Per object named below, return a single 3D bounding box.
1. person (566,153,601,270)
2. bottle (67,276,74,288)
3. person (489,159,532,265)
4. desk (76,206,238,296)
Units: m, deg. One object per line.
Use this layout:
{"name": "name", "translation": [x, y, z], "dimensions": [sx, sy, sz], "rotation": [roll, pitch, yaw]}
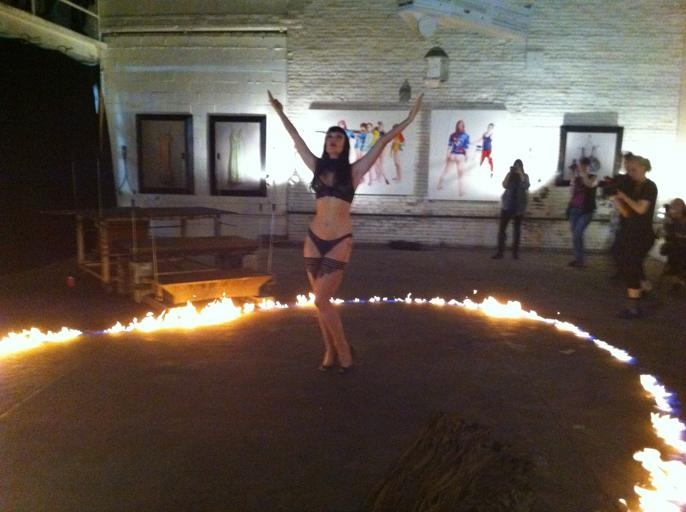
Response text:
{"name": "person", "translation": [4.946, -0.894, 10.749], "dimensions": [0.470, 2.206, 0.658], "rotation": [5, 13, 13]}
{"name": "bottle", "translation": [-4.447, 0.403, 8.498], "dimensions": [0.099, 0.221, 0.284], "rotation": [-5, 14, -29]}
{"name": "person", "translation": [3.853, -1.087, 11.848], "dimensions": [0.606, 2.183, 1.196], "rotation": [6, 13, 18]}
{"name": "desk", "translation": [-3.180, -0.210, 8.636], "dimensions": [2.256, 1.271, 3.457], "rotation": [-4, 14, -29]}
